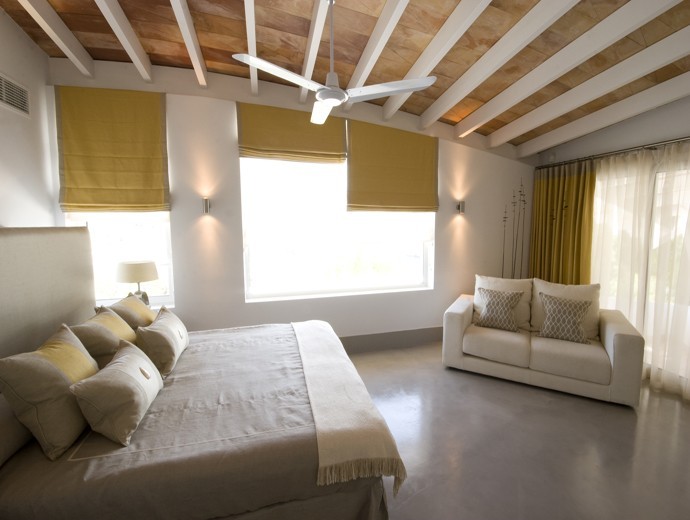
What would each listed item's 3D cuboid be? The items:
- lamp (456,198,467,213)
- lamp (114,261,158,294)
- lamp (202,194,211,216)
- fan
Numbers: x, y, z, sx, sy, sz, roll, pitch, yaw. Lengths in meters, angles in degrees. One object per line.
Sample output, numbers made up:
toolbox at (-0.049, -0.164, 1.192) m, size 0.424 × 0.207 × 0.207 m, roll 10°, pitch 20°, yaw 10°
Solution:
lamp at (1.615, -0.748, 6.533) m, size 0.149 × 0.186 × 0.064 m, roll -1°, pitch 6°, yaw -26°
lamp at (-2.229, 0.165, 5.045) m, size 0.267 × 0.310 × 0.282 m, roll 0°, pitch 3°, yaw 10°
lamp at (-1.590, -0.638, 5.498) m, size 0.091 × 0.220 × 0.065 m, roll 0°, pitch 6°, yaw -19°
fan at (-0.202, -1.787, 4.334) m, size 1.571 × 1.104 × 1.542 m, roll 0°, pitch 5°, yaw -14°
